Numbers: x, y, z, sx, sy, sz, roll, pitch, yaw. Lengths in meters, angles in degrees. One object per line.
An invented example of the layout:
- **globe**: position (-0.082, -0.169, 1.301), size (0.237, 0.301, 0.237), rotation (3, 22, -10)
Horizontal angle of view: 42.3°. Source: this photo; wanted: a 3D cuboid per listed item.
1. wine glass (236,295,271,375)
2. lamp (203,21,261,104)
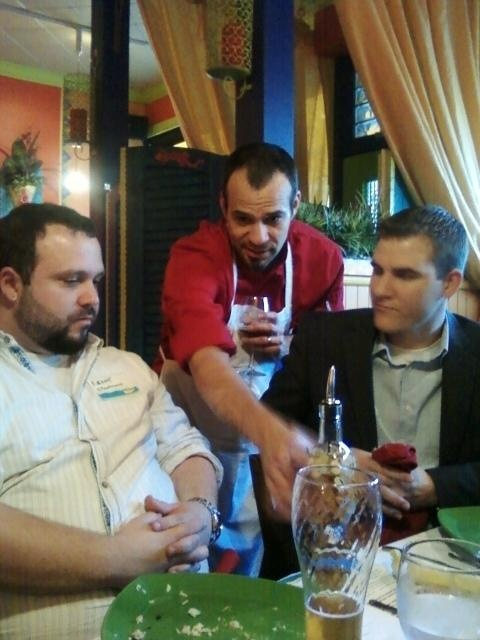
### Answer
- **wine glass**: position (0.038, 0.049, 2.089), size (0.145, 0.214, 0.080), rotation (11, 3, 38)
- **lamp**: position (-0.080, -1.154, 2.681), size (0.185, 0.207, 0.193), rotation (-4, -4, -11)
